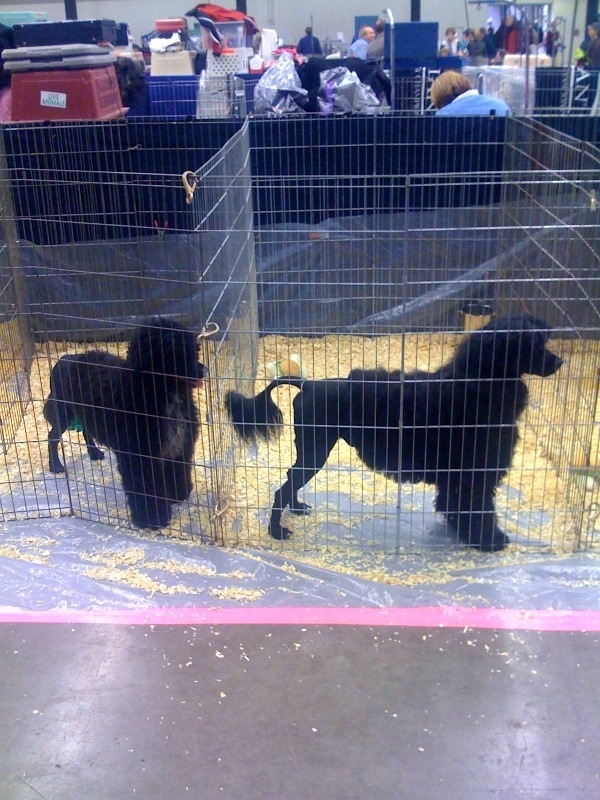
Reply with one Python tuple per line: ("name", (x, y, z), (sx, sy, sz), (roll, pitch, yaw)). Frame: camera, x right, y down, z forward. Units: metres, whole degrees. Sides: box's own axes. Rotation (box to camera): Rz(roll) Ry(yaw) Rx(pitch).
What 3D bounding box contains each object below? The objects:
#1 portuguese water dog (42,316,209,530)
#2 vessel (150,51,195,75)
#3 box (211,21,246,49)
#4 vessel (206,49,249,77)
("portuguese water dog", (-0.924, 0.044, 3.776), (0.907, 1.129, 0.429), (16, 24, 26))
("vessel", (-1.697, -4.424, 9.587), (0.551, 0.316, 0.399), (-5, 19, -11))
("box", (-1.051, -5.493, 10.953), (0.423, 0.416, 0.863), (-3, 19, -6))
("vessel", (-0.964, -4.428, 9.546), (0.569, 0.402, 1.153), (-3, 19, -4))
